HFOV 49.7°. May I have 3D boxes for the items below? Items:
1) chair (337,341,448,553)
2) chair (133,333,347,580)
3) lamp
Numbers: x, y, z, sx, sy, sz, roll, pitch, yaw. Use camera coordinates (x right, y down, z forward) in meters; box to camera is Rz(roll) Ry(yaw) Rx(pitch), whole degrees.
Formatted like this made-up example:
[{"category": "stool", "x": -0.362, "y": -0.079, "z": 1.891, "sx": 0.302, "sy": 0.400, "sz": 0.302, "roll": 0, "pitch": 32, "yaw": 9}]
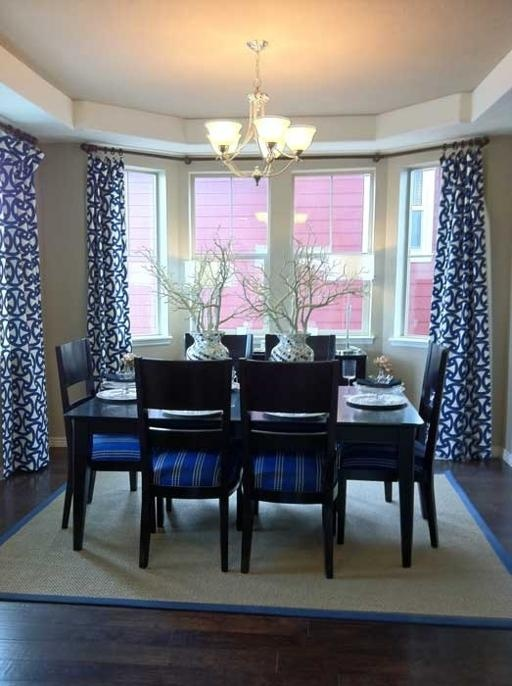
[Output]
[{"category": "chair", "x": 0.657, "y": 0.480, "z": 2.745, "sx": 0.540, "sy": 0.922, "sz": 0.547, "roll": 0, "pitch": 3, "yaw": 25}, {"category": "chair", "x": -0.056, "y": 0.361, "z": 2.578, "sx": 1.029, "sy": 1.067, "sz": 0.797, "roll": 1, "pitch": 14, "yaw": 2}, {"category": "lamp", "x": 0.028, "y": -1.204, "z": 2.831, "sx": 0.454, "sy": 0.688, "sz": 0.551, "roll": 2, "pitch": 8, "yaw": 33}]
